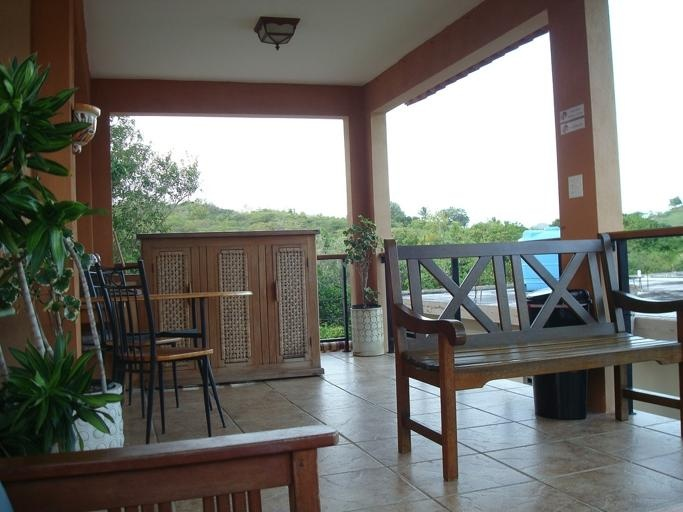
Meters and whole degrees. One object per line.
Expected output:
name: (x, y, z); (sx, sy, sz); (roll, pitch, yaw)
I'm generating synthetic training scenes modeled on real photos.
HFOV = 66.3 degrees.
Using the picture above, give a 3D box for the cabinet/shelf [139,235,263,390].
cabinet/shelf: (-1.268, 0.576, 4.865); (0.510, 1.459, 1.147); (-32, -12, 15)

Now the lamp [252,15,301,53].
lamp: (-0.629, -2.159, 5.092); (0.436, 0.196, 0.375); (-2, -1, -13)
